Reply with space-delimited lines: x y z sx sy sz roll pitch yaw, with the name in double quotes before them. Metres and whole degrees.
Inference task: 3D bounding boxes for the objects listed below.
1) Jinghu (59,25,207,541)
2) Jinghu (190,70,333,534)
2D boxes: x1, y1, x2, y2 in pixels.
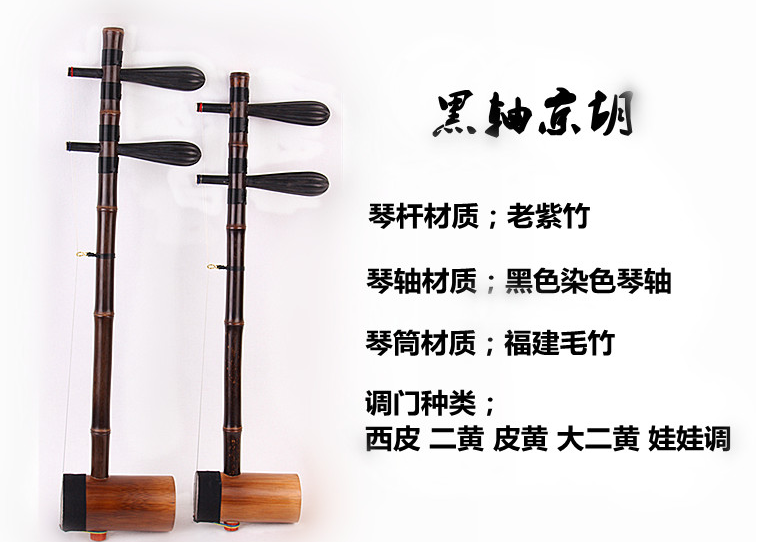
"Jinghu" -0.932 0.041 4.049 0.477 1.802 0.275 2 -9 -14
"Jinghu" -0.463 0.083 4.063 0.469 1.592 0.159 0 -8 -1
